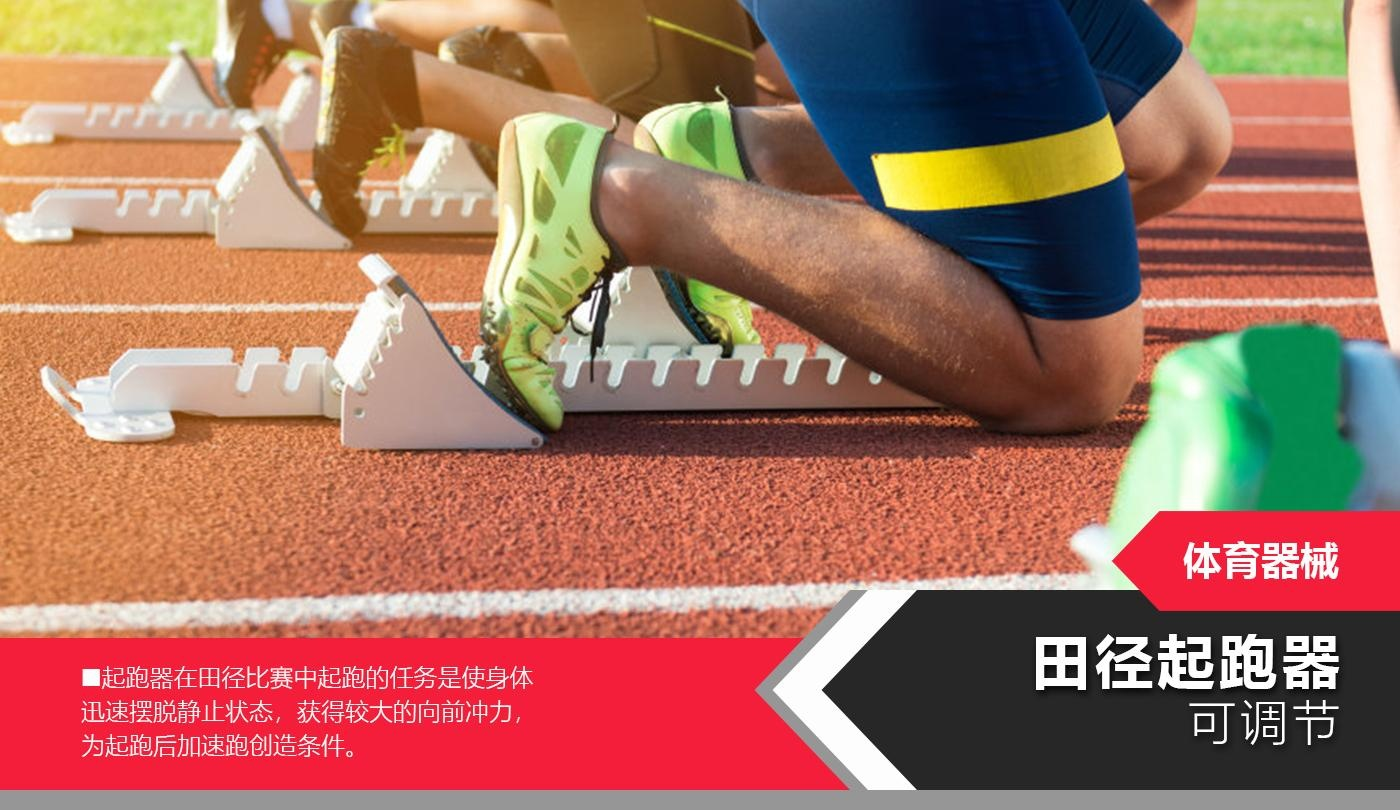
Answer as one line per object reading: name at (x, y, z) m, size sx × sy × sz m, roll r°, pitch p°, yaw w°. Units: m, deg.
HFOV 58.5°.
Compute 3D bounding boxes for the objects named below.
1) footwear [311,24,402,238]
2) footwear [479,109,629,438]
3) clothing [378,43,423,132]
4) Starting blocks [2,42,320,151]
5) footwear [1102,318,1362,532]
footwear at (-1.002, -0.714, 3.765) m, size 0.311 × 0.765 × 0.255 m, roll 2°, pitch 22°, yaw -3°
footwear at (-0.343, -0.336, 2.948) m, size 0.319 × 0.762 × 0.265 m, roll 5°, pitch 9°, yaw 10°
clothing at (-0.835, -0.887, 3.531) m, size 0.110 × 0.226 × 0.052 m, roll 3°, pitch 9°, yaw 3°
Starting blocks at (-2.277, -1.223, 5.324) m, size 1.122 × 0.346 × 0.888 m, roll -2°, pitch 13°, yaw -16°
footwear at (0.944, 0.002, 2.331) m, size 0.372 × 0.427 × 0.273 m, roll 8°, pitch 13°, yaw 2°
